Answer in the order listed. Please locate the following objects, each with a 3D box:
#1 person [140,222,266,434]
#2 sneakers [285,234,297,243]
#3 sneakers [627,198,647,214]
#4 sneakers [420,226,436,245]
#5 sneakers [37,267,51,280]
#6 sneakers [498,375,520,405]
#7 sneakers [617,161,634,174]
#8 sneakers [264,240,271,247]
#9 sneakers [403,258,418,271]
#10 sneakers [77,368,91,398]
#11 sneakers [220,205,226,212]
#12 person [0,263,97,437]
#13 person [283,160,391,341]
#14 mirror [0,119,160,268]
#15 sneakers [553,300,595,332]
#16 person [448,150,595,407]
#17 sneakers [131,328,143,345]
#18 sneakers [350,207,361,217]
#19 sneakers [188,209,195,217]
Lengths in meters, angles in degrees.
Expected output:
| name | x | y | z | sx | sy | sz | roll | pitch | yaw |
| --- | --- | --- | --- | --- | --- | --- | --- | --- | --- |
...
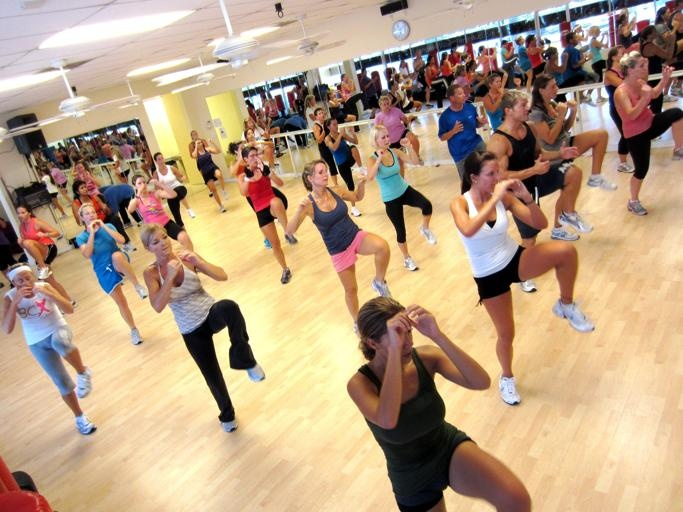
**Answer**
| name | x | y | z | sx | sy | sz | roll | pitch | yaw |
| --- | --- | --- | --- | --- | --- | --- | --- | --- | --- |
| person | -1.211 | 0.634 | 3.879 | 0.652 | 1.987 | 0.367 | -23 | 23 | -25 |
| sneakers | -0.838 | -0.270 | 7.115 | 0.091 | 0.099 | 0.227 | -26 | 32 | -23 |
| sneakers | 3.606 | -0.604 | 5.346 | 0.198 | 0.179 | 0.204 | -1 | 24 | 28 |
| sneakers | 1.220 | -0.303 | 6.149 | 0.183 | 0.289 | 0.221 | -6 | 22 | 17 |
| sneakers | -4.682 | 0.287 | 6.893 | 0.164 | 0.120 | 0.229 | 6 | 31 | 17 |
| sneakers | 1.344 | 1.054 | 3.499 | 0.098 | 0.112 | 0.273 | -7 | 32 | 3 |
| sneakers | 4.181 | -1.300 | 6.503 | 0.131 | 0.108 | 0.227 | -45 | 35 | -23 |
| sneakers | -1.268 | -0.207 | 7.452 | 0.073 | 0.089 | 0.200 | -11 | 20 | -25 |
| sneakers | 0.897 | 0.102 | 5.662 | 0.097 | 0.093 | 0.225 | -26 | 37 | -17 |
| sneakers | -3.015 | 1.484 | 5.065 | 0.132 | 0.358 | 0.150 | -4 | 1 | -2 |
| sneakers | -2.926 | -1.127 | 10.770 | 0.080 | 0.087 | 0.188 | -24 | 7 | -14 |
| person | -2.984 | 0.917 | 4.521 | 0.593 | 1.799 | 0.869 | -26 | 25 | -31 |
| person | -0.004 | -0.083 | 4.629 | 0.870 | 1.812 | 0.692 | -19 | 22 | -16 |
| mirror | -5.862 | -1.353 | 9.470 | 3.074 | 3.173 | 0.059 | -28 | 13 | -30 |
| sneakers | 2.071 | 0.550 | 3.927 | 0.300 | 0.133 | 0.125 | 36 | 59 | 5 |
| person | 1.341 | 0.167 | 3.253 | 0.815 | 1.902 | 0.631 | -12 | 12 | 23 |
| sneakers | -2.766 | 1.087 | 5.884 | 0.100 | 0.113 | 0.275 | -17 | 31 | -27 |
| sneakers | 0.252 | -0.799 | 8.060 | 0.091 | 0.106 | 0.245 | -26 | 25 | -10 |
| sneakers | -3.663 | -1.033 | 10.706 | 0.120 | 0.156 | 0.352 | -38 | 28 | -9 |
